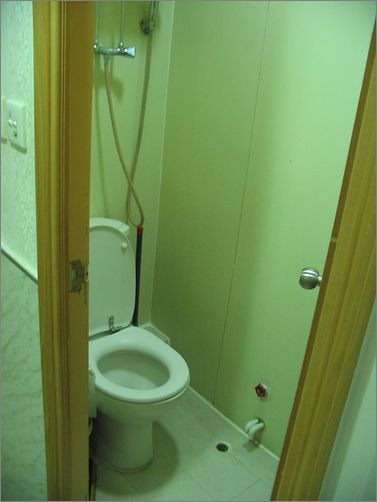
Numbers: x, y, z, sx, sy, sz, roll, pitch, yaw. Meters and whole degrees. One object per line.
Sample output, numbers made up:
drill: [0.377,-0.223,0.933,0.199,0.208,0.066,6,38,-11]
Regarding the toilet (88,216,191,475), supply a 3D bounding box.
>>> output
toilet: [-0.256,0.368,1.612,0.277,0.844,0.524,-6,15,-42]
